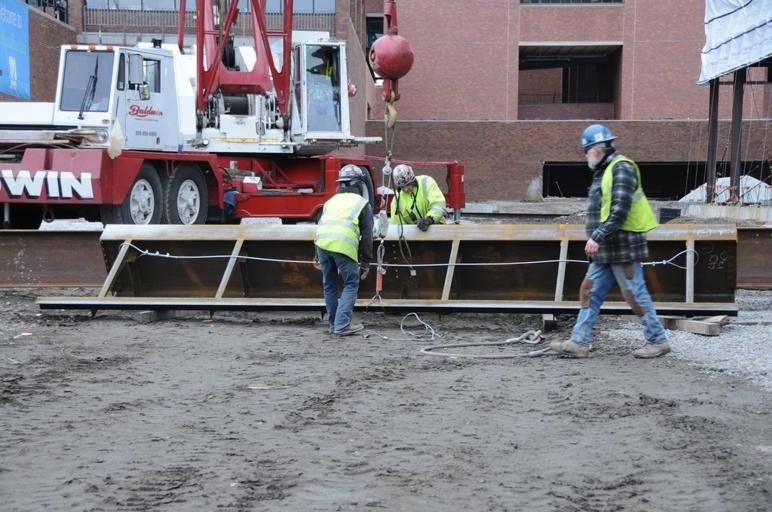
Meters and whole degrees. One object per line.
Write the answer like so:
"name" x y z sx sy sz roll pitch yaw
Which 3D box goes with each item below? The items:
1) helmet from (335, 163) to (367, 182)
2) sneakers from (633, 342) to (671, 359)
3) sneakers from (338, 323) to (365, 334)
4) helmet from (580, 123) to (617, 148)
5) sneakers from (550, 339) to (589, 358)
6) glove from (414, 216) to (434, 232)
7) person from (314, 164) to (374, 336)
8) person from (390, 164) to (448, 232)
"helmet" -0.655 -1.335 20.679 0.588 0.251 0.372 4 3 -4
"sneakers" 4.056 1.441 19.609 0.651 0.257 0.216 -5 9 4
"sneakers" -0.645 1.181 20.637 0.440 0.136 0.181 -5 28 -3
"helmet" 3.178 -1.844 19.498 0.489 0.211 0.364 -1 16 40
"sneakers" 2.811 1.433 19.791 0.673 0.252 0.231 12 -3 8
"glove" 0.581 -0.534 21.174 0.315 0.237 0.195 1 6 -8
"person" -0.760 -0.092 20.604 0.921 2.733 0.457 1 6 -5
"person" 0.408 -0.937 21.667 1.041 1.153 0.960 -12 12 15
